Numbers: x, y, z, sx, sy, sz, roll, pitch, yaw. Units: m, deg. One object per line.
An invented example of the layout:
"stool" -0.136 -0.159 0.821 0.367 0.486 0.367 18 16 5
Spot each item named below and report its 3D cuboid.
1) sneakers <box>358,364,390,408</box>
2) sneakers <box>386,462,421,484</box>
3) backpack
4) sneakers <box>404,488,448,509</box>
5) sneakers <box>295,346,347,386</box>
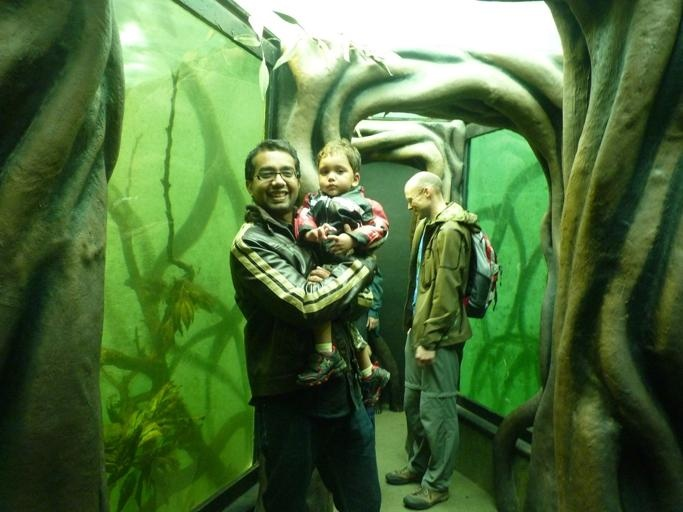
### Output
"sneakers" 0.125 0.453 2.613 0.087 0.206 0.073 34 -37 -13
"sneakers" 0.336 1.187 3.780 0.218 0.108 0.085 4 -1 -7
"backpack" 0.656 0.040 3.661 0.321 0.646 0.417 3 15 2
"sneakers" 0.412 1.207 3.499 0.245 0.120 0.092 4 -3 -24
"sneakers" -0.070 0.367 2.380 0.081 0.101 0.179 0 12 38
